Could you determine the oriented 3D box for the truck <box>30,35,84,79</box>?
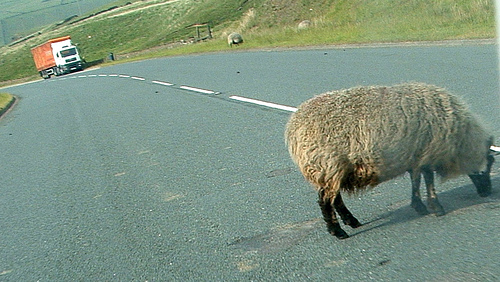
[{"bbox_3d":[-24.015,-10.048,40.838,4.385,4.226,13.061,-34,31,-34],"label":"truck"}]

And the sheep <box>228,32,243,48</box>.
[{"bbox_3d":[-1.363,-8.802,29.184,0.910,0.993,1.455,-1,27,27],"label":"sheep"}]
